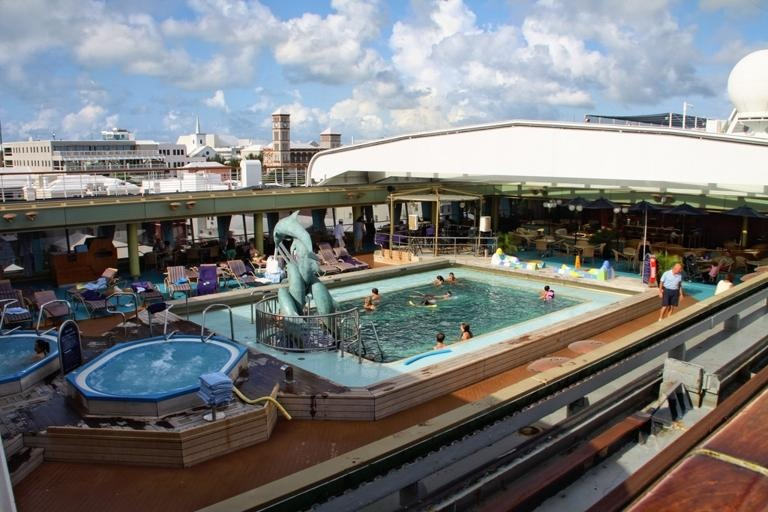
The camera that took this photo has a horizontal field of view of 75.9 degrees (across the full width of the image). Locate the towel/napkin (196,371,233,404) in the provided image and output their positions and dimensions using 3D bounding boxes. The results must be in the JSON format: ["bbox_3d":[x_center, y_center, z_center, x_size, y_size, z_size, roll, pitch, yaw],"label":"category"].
[{"bbox_3d":[-2.921,2.300,8.529,0.471,0.395,0.469,-9,16,-34],"label":"towel/napkin"}]

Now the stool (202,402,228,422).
[{"bbox_3d":[-2.888,2.700,8.448,0.359,0.342,0.287,12,32,-5],"label":"stool"}]
